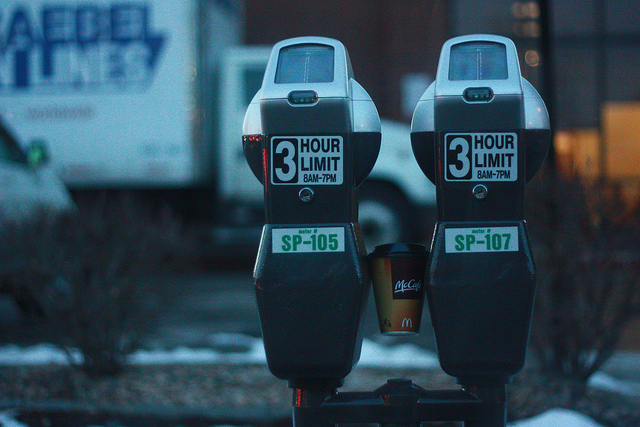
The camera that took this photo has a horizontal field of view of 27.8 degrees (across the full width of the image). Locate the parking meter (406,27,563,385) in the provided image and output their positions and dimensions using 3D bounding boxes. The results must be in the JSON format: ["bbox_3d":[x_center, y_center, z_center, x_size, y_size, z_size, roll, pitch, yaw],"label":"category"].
[{"bbox_3d":[1.140,-0.011,9.286,0.981,2.419,0.412,0,7,3],"label":"parking meter"}]

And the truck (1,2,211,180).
[{"bbox_3d":[-1.780,-0.980,10.847,1.719,1.445,0.140,0,7,1],"label":"truck"}]

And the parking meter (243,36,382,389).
[{"bbox_3d":[-0.056,0.013,9.306,0.954,2.446,0.423,-1,7,-4],"label":"parking meter"}]
